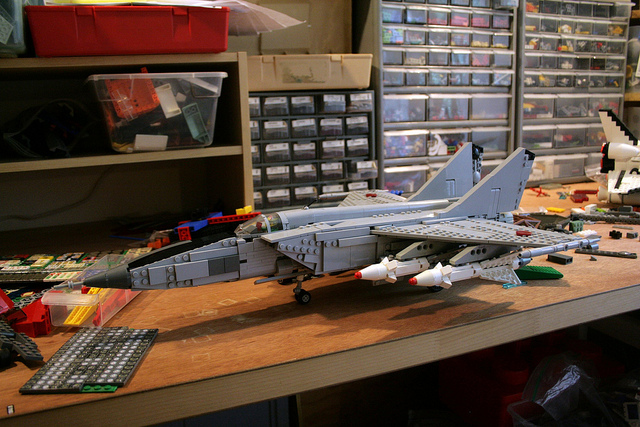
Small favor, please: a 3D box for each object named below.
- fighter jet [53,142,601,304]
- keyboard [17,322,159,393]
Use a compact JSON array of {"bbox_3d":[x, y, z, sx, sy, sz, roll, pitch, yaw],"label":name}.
[{"bbox_3d":[0.075,0.048,1.303,1.065,0.251,0.693,-5,11,-15],"label":"fighter jet"},{"bbox_3d":[-0.535,0.342,1.103,0.225,0.066,0.216,-3,13,9],"label":"keyboard"}]
